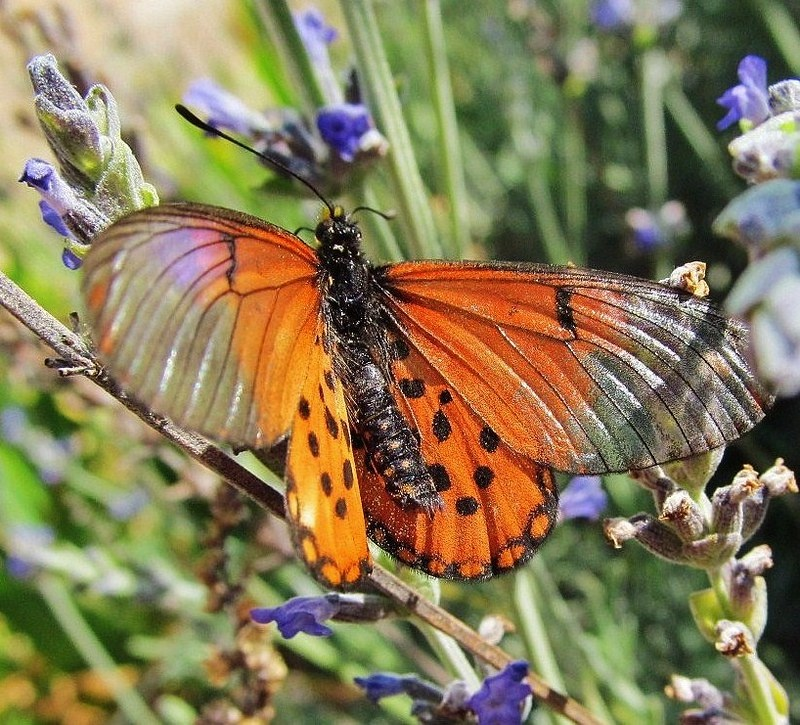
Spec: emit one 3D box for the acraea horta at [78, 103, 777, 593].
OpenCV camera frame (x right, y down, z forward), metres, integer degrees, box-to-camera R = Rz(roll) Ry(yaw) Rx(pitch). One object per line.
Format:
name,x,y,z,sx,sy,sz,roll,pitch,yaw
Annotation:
acraea horta,0.091,-0.026,1.595,1.112,0.744,0.350,-16,10,21
